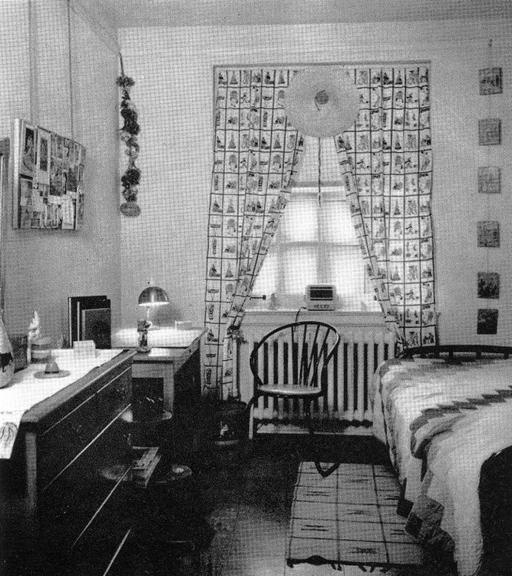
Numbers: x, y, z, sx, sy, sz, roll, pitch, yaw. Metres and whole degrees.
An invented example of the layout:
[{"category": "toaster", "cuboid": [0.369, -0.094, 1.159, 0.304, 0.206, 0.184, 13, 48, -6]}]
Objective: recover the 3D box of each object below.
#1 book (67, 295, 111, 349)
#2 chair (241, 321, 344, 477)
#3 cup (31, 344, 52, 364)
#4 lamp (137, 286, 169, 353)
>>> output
[{"category": "book", "cuboid": [-0.793, 0.157, 3.083, 0.068, 0.265, 0.230, 0, 2, 17]}, {"category": "chair", "cuboid": [0.229, 0.550, 3.979, 0.567, 0.703, 0.901, 1, 6, 7]}, {"category": "cup", "cuboid": [-0.778, 0.233, 2.382, 0.058, 0.081, 0.065, 2, 1, 10]}, {"category": "lamp", "cuboid": [-0.600, 0.176, 3.712, 0.165, 0.406, 0.156, 3, -5, -31]}]
